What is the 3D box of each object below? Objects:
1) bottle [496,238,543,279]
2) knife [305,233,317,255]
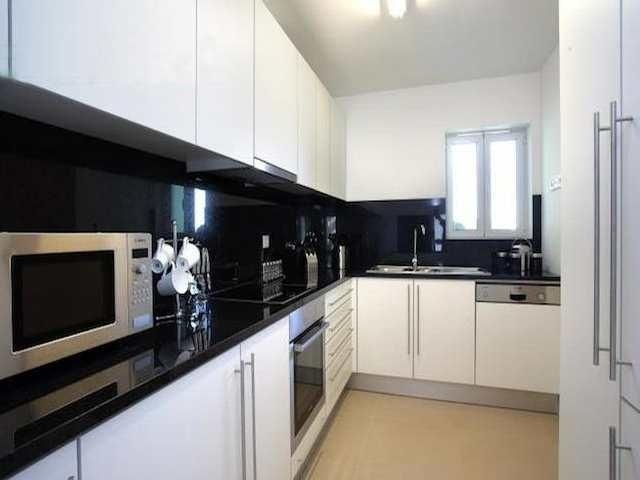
[{"bbox_3d":[1.522,0.142,3.771,0.233,0.409,0.417,1,1,-15],"label":"bottle"},{"bbox_3d":[-0.074,0.038,4.054,0.036,0.178,0.094,-4,-4,32],"label":"knife"}]
